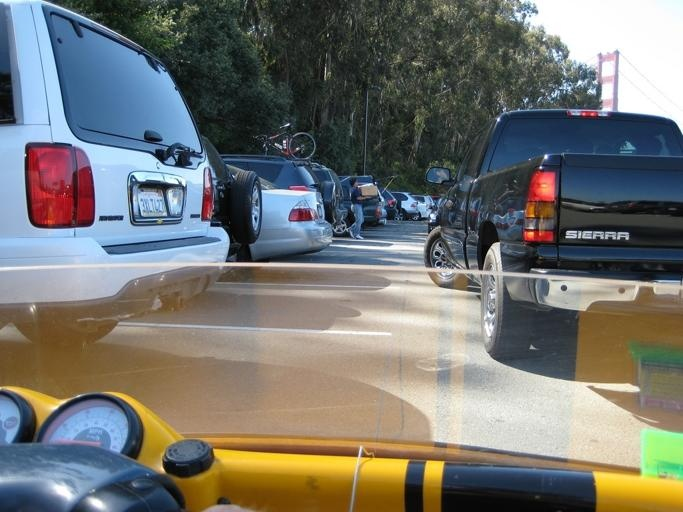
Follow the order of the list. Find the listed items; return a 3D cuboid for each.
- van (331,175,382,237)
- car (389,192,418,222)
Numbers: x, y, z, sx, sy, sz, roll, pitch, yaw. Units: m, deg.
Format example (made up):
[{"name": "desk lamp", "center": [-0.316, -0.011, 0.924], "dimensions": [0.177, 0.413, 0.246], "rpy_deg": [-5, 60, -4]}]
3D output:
[{"name": "van", "center": [0.488, -1.588, 16.903], "dimensions": [1.023, 1.290, 2.281], "rpy_deg": [2, 11, 14]}, {"name": "car", "center": [3.360, -2.608, 30.431], "dimensions": [1.640, 0.873, 0.952], "rpy_deg": [-1, 7, 3]}]
